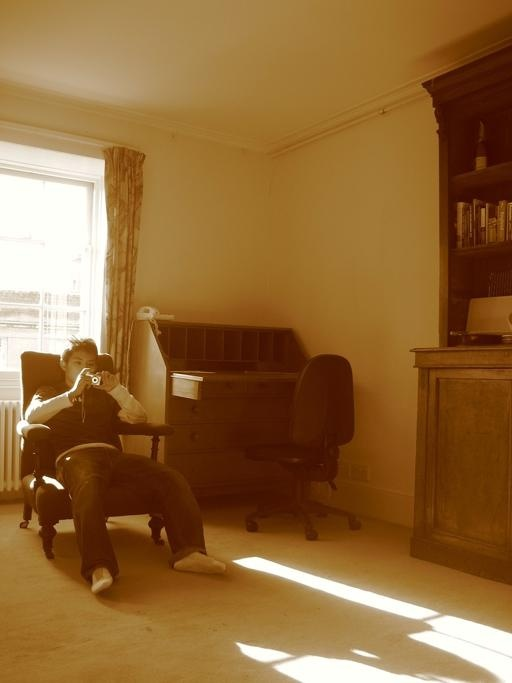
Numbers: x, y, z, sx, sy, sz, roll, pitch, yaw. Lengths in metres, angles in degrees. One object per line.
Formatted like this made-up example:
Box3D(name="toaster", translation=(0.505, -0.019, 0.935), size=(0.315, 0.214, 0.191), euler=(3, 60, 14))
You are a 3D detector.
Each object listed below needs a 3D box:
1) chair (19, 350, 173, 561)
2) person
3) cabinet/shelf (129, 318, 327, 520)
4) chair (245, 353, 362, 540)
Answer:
Box3D(name="chair", translation=(-0.859, 0.529, 2.785), size=(0.638, 1.006, 0.738), euler=(2, -6, -37))
Box3D(name="person", translation=(-0.656, 0.459, 2.495), size=(0.577, 1.287, 1.028), euler=(11, -26, -42))
Box3D(name="cabinet/shelf", translation=(-0.185, 0.483, 3.843), size=(1.043, 1.121, 0.817), euler=(0, 2, -21))
Box3D(name="chair", translation=(0.218, 0.558, 3.142), size=(0.565, 0.994, 0.543), euler=(4, -8, -25))
